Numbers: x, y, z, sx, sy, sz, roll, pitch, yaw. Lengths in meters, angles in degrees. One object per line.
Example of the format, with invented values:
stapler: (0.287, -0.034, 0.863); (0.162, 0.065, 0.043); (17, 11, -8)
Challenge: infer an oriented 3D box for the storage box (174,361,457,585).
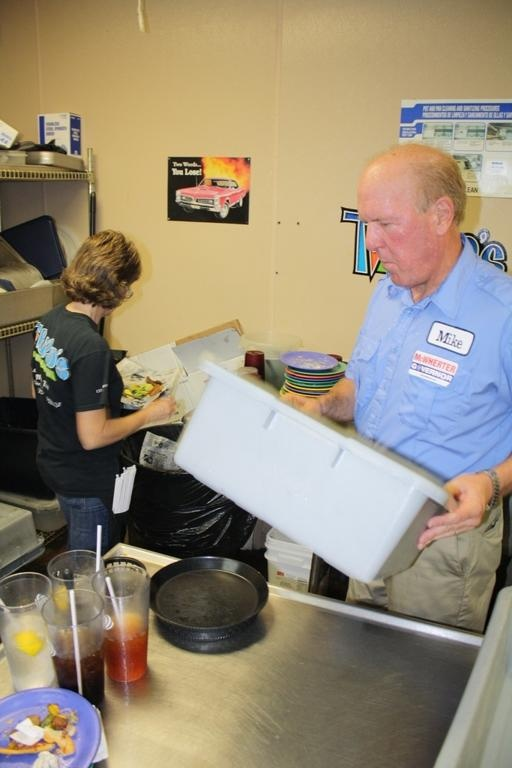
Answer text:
storage box: (0.075, 0.058, 0.894); (0.373, 0.160, 0.287); (26, -17, 32)

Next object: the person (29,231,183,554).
person: (-0.524, 0.049, 1.905); (0.342, 1.054, 0.388); (9, 14, 24)

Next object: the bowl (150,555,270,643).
bowl: (-0.090, 0.395, 1.091); (0.217, 0.055, 0.218); (2, 15, -1)

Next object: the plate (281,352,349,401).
plate: (0.218, -0.043, 2.113); (0.182, 0.080, 0.178); (-5, 22, -30)

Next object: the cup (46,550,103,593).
cup: (-0.277, 0.302, 0.939); (0.068, 0.070, 0.067); (2, 12, -1)

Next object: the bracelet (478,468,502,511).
bracelet: (0.440, 0.200, 1.118); (0.034, 0.068, 0.076); (10, 15, 29)
